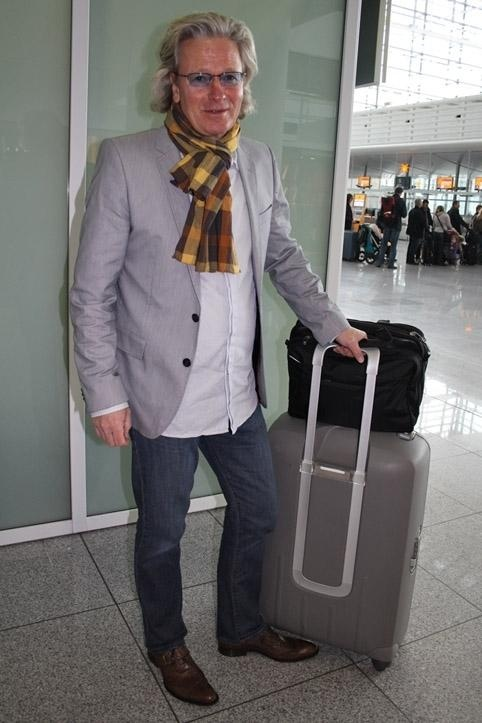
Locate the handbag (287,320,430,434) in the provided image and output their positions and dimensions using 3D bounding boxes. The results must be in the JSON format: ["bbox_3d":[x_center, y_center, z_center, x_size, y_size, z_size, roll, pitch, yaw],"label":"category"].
[{"bbox_3d":[0.333,0.064,1.712,0.406,0.301,0.325,13,-24,11],"label":"handbag"}]

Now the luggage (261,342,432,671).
[{"bbox_3d":[0.295,0.392,1.698,0.445,0.940,0.273,10,16,22],"label":"luggage"}]

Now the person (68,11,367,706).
[{"bbox_3d":[-0.075,0.083,1.427,0.697,1.666,0.316,-5,11,-40],"label":"person"}]

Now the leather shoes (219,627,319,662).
[{"bbox_3d":[0.088,0.842,1.757,0.310,0.114,0.113,-3,2,-4],"label":"leather shoes"}]

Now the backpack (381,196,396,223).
[{"bbox_3d":[3.389,-3.484,13.253,0.325,0.569,0.291,8,10,32],"label":"backpack"}]

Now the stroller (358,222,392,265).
[{"bbox_3d":[3.351,-2.910,14.587,0.996,1.191,0.926,-2,24,5],"label":"stroller"}]

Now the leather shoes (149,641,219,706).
[{"bbox_3d":[-0.178,0.824,1.600,0.093,0.107,0.251,-6,9,-39],"label":"leather shoes"}]
